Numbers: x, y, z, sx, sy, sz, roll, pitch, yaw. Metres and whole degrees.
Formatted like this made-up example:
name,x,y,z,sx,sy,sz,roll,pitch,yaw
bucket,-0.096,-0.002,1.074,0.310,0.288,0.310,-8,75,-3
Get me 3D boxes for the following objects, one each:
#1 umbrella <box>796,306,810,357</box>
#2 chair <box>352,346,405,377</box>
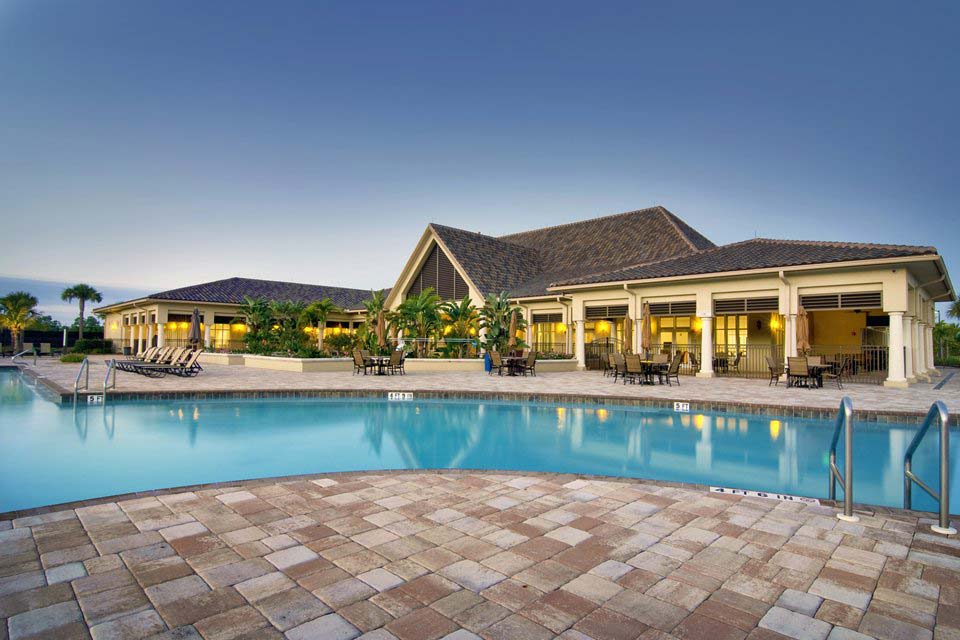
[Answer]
name,x,y,z,sx,sy,sz,roll,pitch,yaw
umbrella,11.796,0.413,22.379,0.388,1.720,1.218,0,-1,27
chair,-4.197,1.702,24.891,1.882,0.955,2.022,1,-2,-14
